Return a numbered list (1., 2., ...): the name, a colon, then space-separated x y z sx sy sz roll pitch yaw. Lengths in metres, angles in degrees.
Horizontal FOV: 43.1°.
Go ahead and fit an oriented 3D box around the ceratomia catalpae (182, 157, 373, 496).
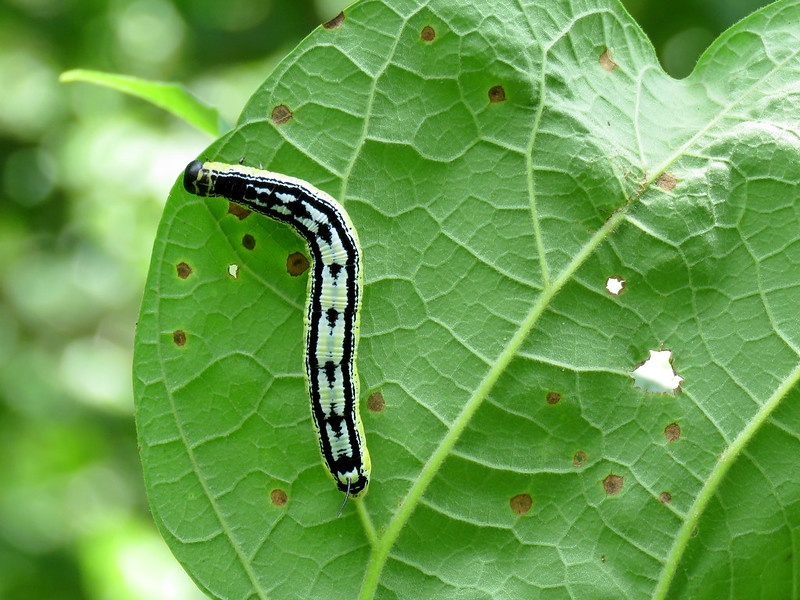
1. ceratomia catalpae: -0.549 -0.016 6.742 0.835 0.569 2.282 -26 80 -5
